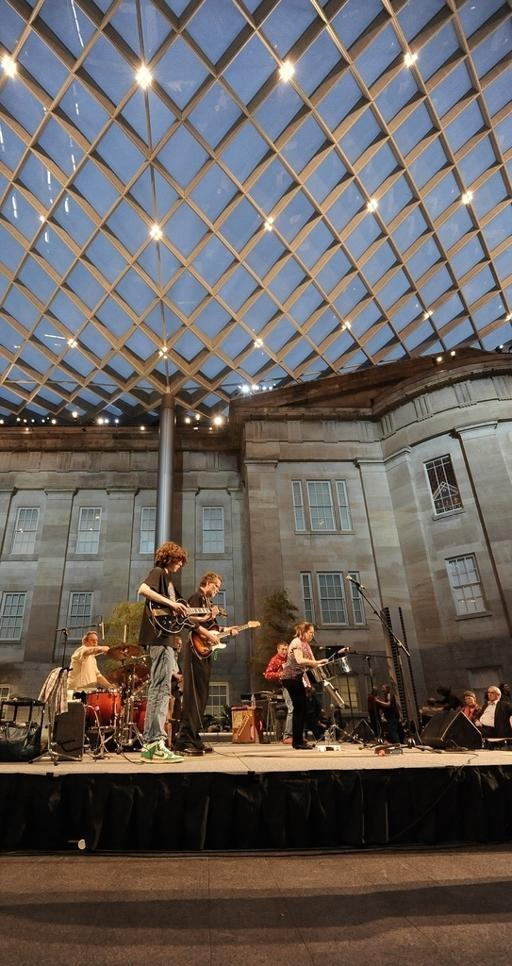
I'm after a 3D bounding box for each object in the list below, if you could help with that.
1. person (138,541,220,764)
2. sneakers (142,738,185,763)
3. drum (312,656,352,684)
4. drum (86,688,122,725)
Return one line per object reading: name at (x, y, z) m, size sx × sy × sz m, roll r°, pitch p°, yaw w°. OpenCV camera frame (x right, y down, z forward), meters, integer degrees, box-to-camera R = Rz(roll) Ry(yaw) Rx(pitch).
person at (-0.856, 1.543, 5.049) m, size 0.590 × 2.058 × 1.149 m, roll 3°, pitch -12°, yaw -8°
sneakers at (-0.823, 2.287, 4.454) m, size 0.116 × 0.164 × 0.551 m, roll 12°, pitch -17°, yaw -39°
drum at (0.992, 2.367, 6.740) m, size 0.479 × 0.312 × 0.287 m, roll 4°, pitch -13°, yaw -5°
drum at (-2.503, 3.638, 8.566) m, size 0.482 × 0.528 × 0.496 m, roll 16°, pitch -31°, yaw -40°
